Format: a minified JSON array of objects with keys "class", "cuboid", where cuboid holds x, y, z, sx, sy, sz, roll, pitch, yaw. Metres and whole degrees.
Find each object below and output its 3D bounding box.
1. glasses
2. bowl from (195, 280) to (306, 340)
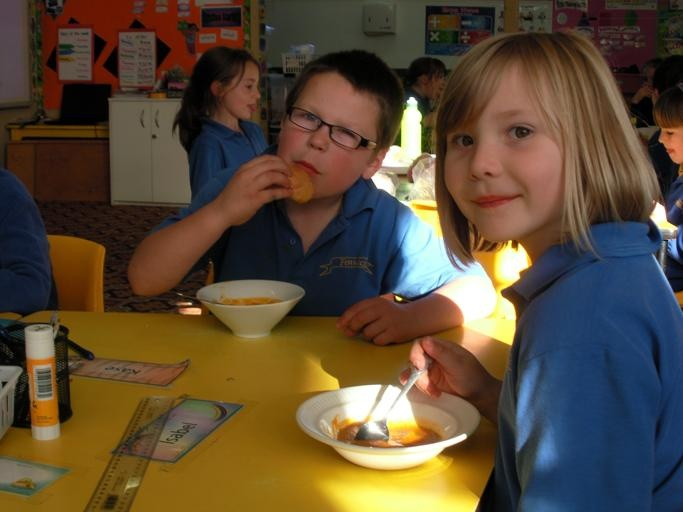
[{"class":"glasses","cuboid":[-0.026,-0.370,1.615,0.250,0.118,0.085,0,12,-6]},{"class":"bowl","cuboid":[-0.231,0.137,1.398,0.262,0.099,0.268,3,11,0]}]
